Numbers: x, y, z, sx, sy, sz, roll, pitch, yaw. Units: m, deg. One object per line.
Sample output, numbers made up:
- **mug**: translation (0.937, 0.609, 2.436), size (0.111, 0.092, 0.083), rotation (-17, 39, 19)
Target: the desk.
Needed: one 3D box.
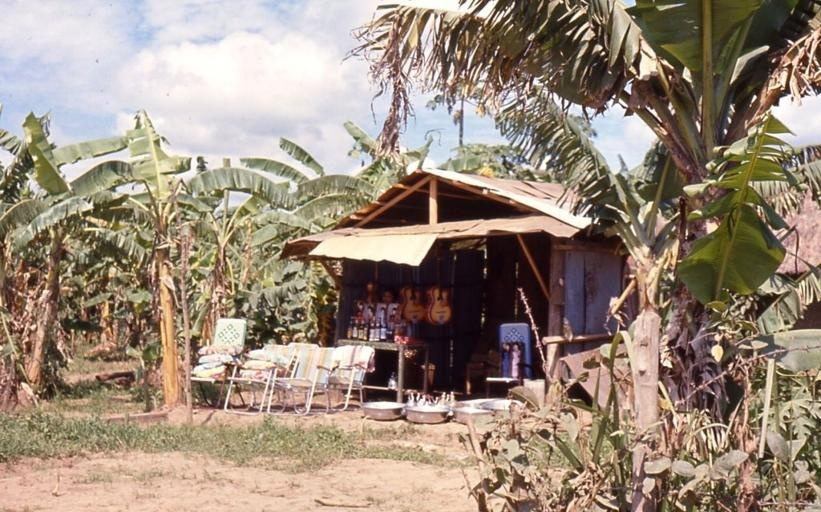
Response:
- **desk**: translation (-0.425, 1.979, 15.156), size (0.480, 1.035, 1.202), rotation (1, -2, -44)

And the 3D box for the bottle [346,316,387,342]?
- **bottle**: translation (-0.716, 1.307, 15.311), size (0.452, 0.457, 0.463), rotation (2, 1, 33)

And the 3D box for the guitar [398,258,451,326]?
- **guitar**: translation (0.247, 0.674, 15.554), size (1.067, 1.871, 0.265), rotation (4, -16, -27)

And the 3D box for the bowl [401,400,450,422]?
- **bowl**: translation (0.273, 2.521, 13.798), size (0.718, 0.271, 0.497), rotation (2, 8, 4)

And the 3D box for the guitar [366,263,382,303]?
- **guitar**: translation (-0.673, 0.479, 15.843), size (0.219, 0.651, 0.643), rotation (1, 8, -2)
